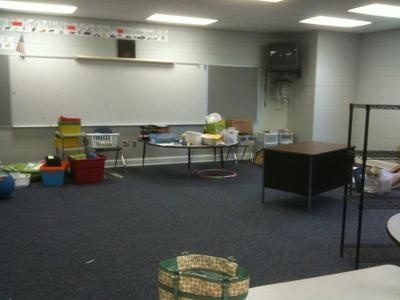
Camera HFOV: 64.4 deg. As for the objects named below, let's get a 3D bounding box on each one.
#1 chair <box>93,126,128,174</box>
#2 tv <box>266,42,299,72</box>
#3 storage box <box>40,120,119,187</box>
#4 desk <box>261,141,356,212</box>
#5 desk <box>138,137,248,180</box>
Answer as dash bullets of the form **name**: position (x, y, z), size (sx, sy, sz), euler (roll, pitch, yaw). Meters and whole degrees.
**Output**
- **chair**: position (-2.098, -0.082, 7.296), size (0.787, 1.301, 0.921), euler (0, 0, -27)
- **tv**: position (2.142, -2.401, 8.216), size (0.822, 0.688, 0.289), euler (3, 7, 29)
- **storage box**: position (-2.498, -0.036, 6.597), size (1.409, 1.290, 1.353), euler (-1, 3, -22)
- **desk**: position (1.603, 0.365, 4.976), size (1.378, 1.115, 1.821), euler (5, 11, 25)
- **desk**: position (-0.250, 0.067, 7.463), size (2.400, 0.768, 2.558), euler (2, 10, 5)
